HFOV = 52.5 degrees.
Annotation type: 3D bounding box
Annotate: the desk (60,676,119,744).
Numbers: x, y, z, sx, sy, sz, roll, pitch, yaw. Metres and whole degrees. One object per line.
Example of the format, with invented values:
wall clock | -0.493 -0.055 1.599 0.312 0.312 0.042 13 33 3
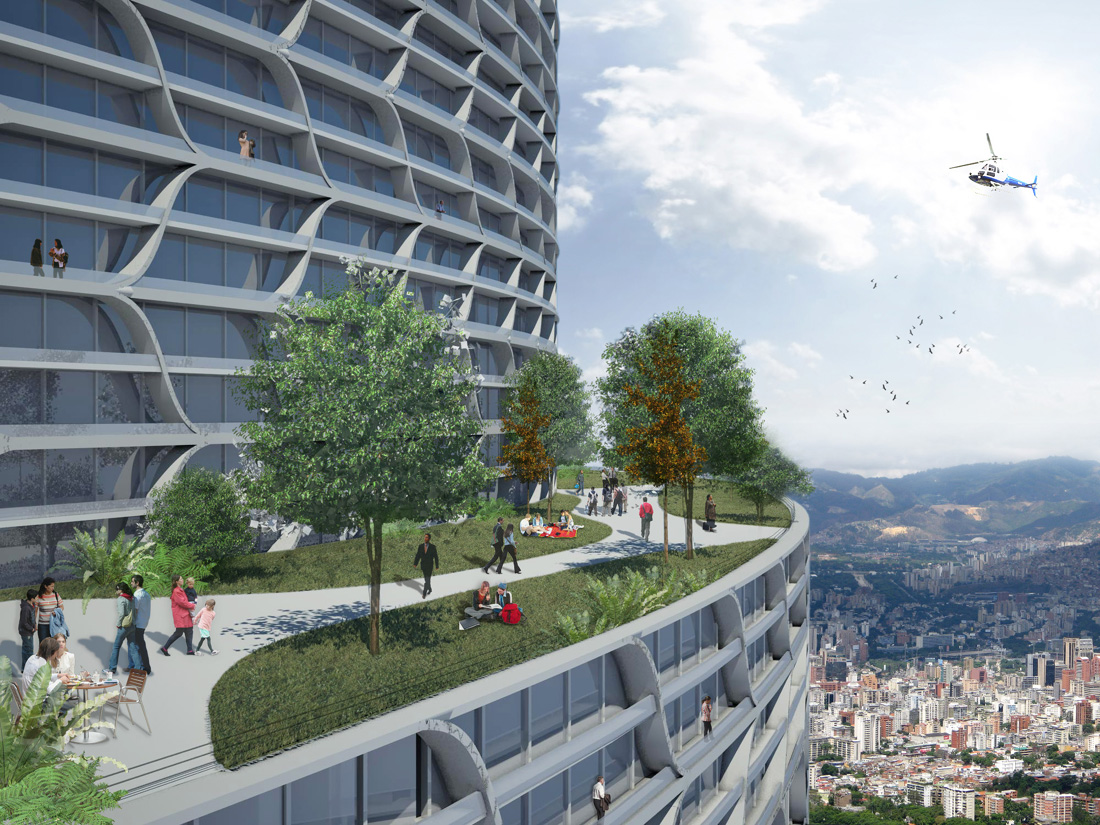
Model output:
desk | -13.364 8.605 32.274 2.005 1.481 2.077 -2 -4 38
